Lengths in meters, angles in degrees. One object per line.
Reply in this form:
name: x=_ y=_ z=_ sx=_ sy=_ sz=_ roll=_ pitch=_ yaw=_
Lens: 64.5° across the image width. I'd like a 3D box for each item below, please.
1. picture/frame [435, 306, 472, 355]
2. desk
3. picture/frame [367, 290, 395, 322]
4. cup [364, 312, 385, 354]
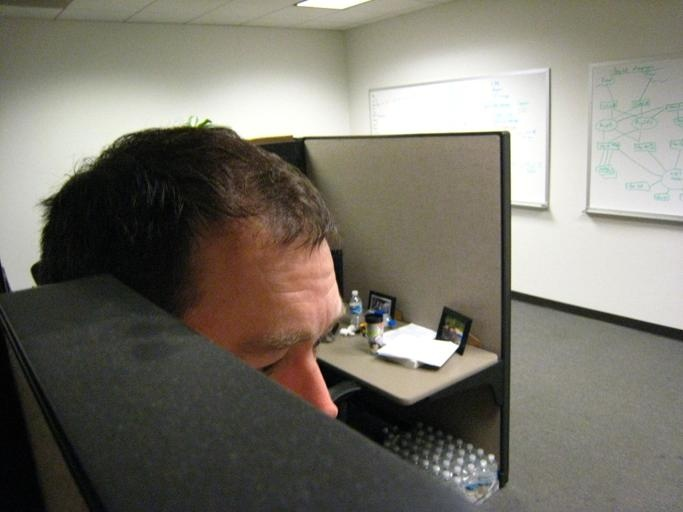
picture/frame: x=0.425 y=0.283 z=2.025 sx=0.014 sy=0.142 sz=0.121 roll=-2 pitch=29 yaw=-31
desk: x=0.285 y=0.597 z=2.120 sx=0.388 sy=0.465 sz=0.670 roll=-16 pitch=13 yaw=-25
picture/frame: x=0.175 y=0.214 z=2.306 sx=0.009 sy=0.122 sz=0.111 roll=-3 pitch=9 yaw=-42
cup: x=0.126 y=0.292 z=2.091 sx=0.099 sy=0.187 sz=0.110 roll=-1 pitch=0 yaw=1
